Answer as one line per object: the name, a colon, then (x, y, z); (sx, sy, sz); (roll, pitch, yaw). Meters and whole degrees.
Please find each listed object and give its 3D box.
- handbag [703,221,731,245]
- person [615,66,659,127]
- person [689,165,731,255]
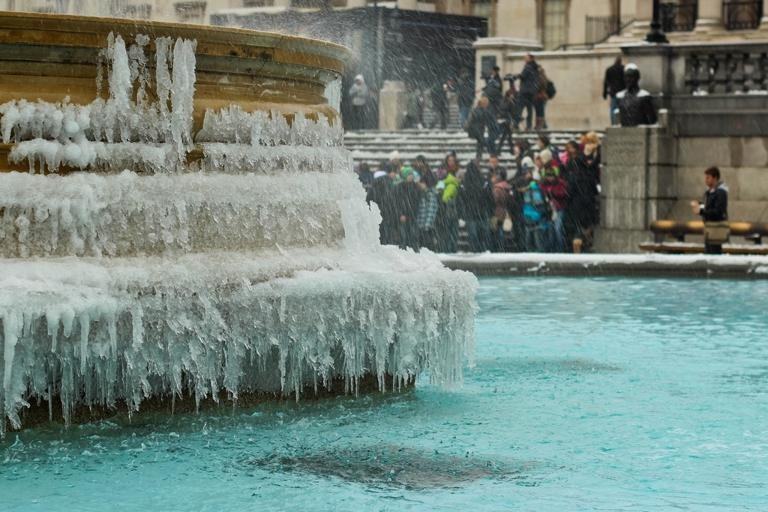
handbag: (4.716, -0.345, 20.938); (0.343, 0.299, 0.311); (4, 14, 17)
person: (4.203, -2.623, 24.406); (0.659, 1.015, 0.659); (0, 10, 3)
person: (4.596, -0.579, 20.752); (0.466, 1.291, 1.805); (1, 10, 13)
